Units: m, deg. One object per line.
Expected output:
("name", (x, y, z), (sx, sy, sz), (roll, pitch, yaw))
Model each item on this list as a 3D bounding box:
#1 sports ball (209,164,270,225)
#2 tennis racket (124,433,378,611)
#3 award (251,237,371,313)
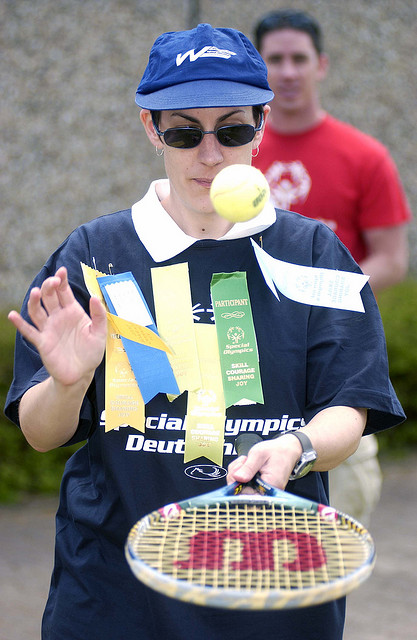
("sports ball", (0.067, -0.265, 1.506), (0.139, 0.123, 0.123), (-6, 39, 7))
("tennis racket", (0.077, 0.377, 1.373), (0.421, 0.061, 0.651), (-5, 14, -3))
("award", (0.221, -0.100, 1.647), (0.304, 0.133, 0.093), (11, 69, 7))
